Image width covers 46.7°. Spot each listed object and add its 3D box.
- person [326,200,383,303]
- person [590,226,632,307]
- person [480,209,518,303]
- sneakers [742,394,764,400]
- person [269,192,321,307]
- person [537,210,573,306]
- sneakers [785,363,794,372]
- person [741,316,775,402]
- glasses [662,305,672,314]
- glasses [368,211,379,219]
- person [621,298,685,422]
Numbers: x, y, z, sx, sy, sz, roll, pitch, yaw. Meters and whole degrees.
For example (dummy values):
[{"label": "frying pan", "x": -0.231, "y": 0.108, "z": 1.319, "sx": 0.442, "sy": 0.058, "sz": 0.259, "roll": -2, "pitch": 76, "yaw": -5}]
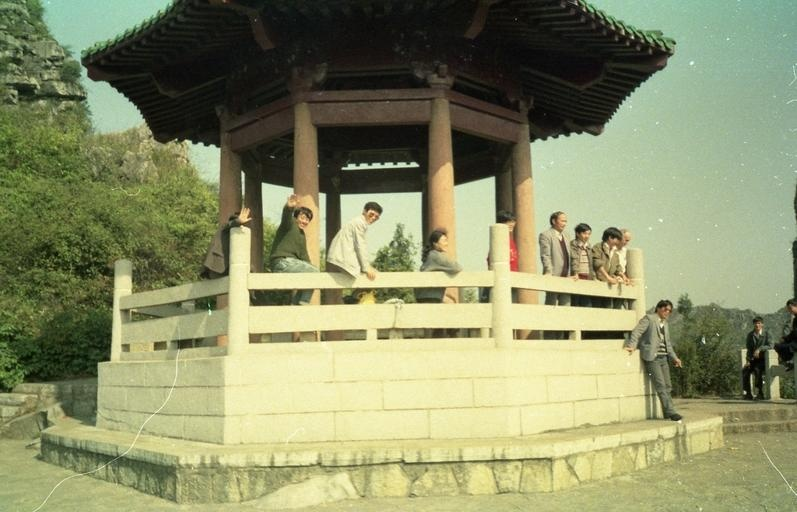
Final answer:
[{"label": "person", "x": -0.880, "y": -0.318, "z": 17.539, "sx": 1.081, "sy": 1.514, "sz": 0.715, "roll": -2, "pitch": -14, "yaw": 17}, {"label": "person", "x": 4.367, "y": -0.010, "z": 19.101, "sx": 0.854, "sy": 1.233, "sz": 0.434, "roll": 7, "pitch": -15, "yaw": -21}, {"label": "person", "x": 2.168, "y": 0.322, "z": 18.898, "sx": 0.796, "sy": 2.529, "sz": 0.662, "roll": -3, "pitch": 1, "yaw": -21}, {"label": "sneakers", "x": 8.937, "y": 3.514, "z": 23.349, "sx": 0.434, "sy": 0.127, "sz": 0.164, "roll": -6, "pitch": -8, "yaw": 34}, {"label": "person", "x": -2.045, "y": -0.179, "z": 18.193, "sx": 0.927, "sy": 2.386, "sz": 1.595, "roll": 0, "pitch": -14, "yaw": 6}, {"label": "person", "x": 3.138, "y": 0.004, "z": 18.516, "sx": 0.625, "sy": 1.984, "sz": 1.282, "roll": 0, "pitch": -14, "yaw": 10}, {"label": "sneakers", "x": 9.360, "y": 2.635, "z": 22.196, "sx": 0.180, "sy": 0.217, "sz": 0.184, "roll": 2, "pitch": -7, "yaw": -15}, {"label": "person", "x": 9.024, "y": 2.527, "z": 23.351, "sx": 0.499, "sy": 2.047, "sz": 0.960, "roll": 4, "pitch": -14, "yaw": -10}, {"label": "glasses", "x": 5.487, "y": 1.050, "z": 18.835, "sx": 0.126, "sy": 0.101, "sz": 0.175, "roll": -1, "pitch": -3, "yaw": -4}, {"label": "glasses", "x": -0.476, "y": -0.796, "z": 17.620, "sx": 0.196, "sy": 0.178, "sz": 0.230, "roll": 4, "pitch": -2, "yaw": 4}, {"label": "person", "x": 5.213, "y": 2.130, "z": 18.871, "sx": 0.968, "sy": 2.385, "sz": 1.018, "roll": -4, "pitch": -15, "yaw": 23}]
